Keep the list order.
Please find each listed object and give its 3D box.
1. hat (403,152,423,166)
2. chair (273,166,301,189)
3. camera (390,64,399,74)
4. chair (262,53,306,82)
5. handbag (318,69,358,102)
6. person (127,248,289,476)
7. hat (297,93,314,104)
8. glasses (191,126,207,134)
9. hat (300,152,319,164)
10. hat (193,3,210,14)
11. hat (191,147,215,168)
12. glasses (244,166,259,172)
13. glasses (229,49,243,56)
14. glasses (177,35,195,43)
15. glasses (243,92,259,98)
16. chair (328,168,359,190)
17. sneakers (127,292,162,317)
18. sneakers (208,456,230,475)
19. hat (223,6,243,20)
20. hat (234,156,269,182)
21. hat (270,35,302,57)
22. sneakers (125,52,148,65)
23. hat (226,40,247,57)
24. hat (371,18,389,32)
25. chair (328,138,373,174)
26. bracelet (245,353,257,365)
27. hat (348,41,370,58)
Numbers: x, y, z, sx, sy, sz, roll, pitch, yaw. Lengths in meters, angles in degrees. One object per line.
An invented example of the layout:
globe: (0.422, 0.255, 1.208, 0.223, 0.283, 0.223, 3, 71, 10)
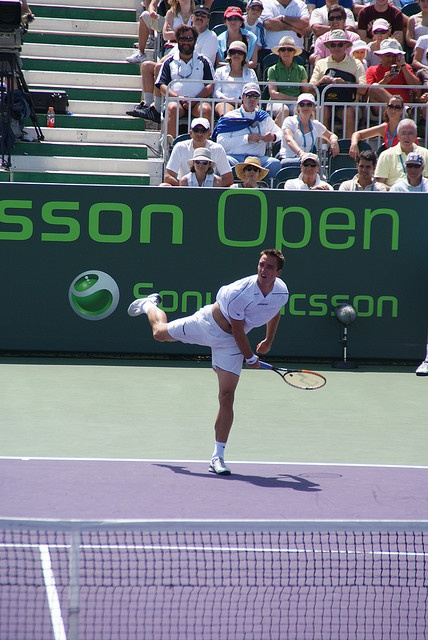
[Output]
hat: (1.981, -1.564, 12.749, 0.117, 0.100, 0.169, 9, 0, 17)
chair: (0.758, -1.473, 13.599, 0.266, 0.226, 0.383, 0, 12, 0)
camera: (2.170, -2.982, 15.533, 0.093, 0.150, 0.092, -3, -32, 18)
chair: (0.852, -3.162, 16.026, 0.515, 0.507, 0.464, -1, 5, -2)
handbag: (1.424, -2.710, 15.042, 0.430, 0.364, 0.717, 1, 12, 4)
person: (0.046, 0.196, 9.132, 0.799, 1.520, 1.394, -3, 12, -14)
hat: (0.978, -2.343, 13.862, 0.166, 0.100, 0.153, 2, 12, 6)
glasses: (-0.151, -1.879, 12.868, 0.150, 0.089, 0.107, 0, 12, 0)
hat: (0.947, -1.602, 12.940, 0.157, 0.084, 0.258, 0, 12, -1)
hat: (-0.156, -3.627, 15.295, 0.158, 0.128, 0.231, 4, 13, -2)
hat: (-0.117, -1.586, 12.728, 0.237, 0.184, 0.348, 0, 12, -1)
glasses: (0.378, -1.536, 13.258, 0.140, 0.076, 0.077, 2, 12, 7)
glasses: (0.211, -3.037, 14.815, 0.168, 0.075, 0.335, -6, 14, -29)
glasses: (-0.320, -3.138, 14.539, 0.213, 0.116, 0.184, 0, 12, -1)
glasses: (0.403, -2.358, 13.743, 0.185, 0.067, 0.193, -2, 13, -13)
chair: (1.383, -1.493, 13.884, 0.199, 0.245, 0.276, 5, 5, 23)
sneakers: (-0.595, -0.116, 10.828, 0.280, 0.125, 0.097, -23, -37, 23)
sneakers: (0.037, 0.973, 8.629, 0.142, 0.102, 0.137, 0, 12, -1)
hat: (0.225, -3.648, 15.475, 0.171, 0.118, 0.266, 2, 7, -2)
hat: (0.374, -1.589, 13.406, 0.260, 0.141, 0.269, 10, -35, 0)
hat: (0.876, -3.255, 15.266, 0.319, 0.143, 0.324, 2, -12, 1)
sneakers: (-1.027, -3.369, 16.876, 0.300, 0.113, 0.156, -4, -20, 1)
hat: (0.269, -3.096, 14.790, 0.149, 0.108, 0.208, 2, -14, 1)
hat: (2.095, -3.636, 16.203, 0.176, 0.146, 0.281, -4, -16, 17)
chair: (1.501, -1.873, 14.427, 0.418, 0.593, 0.435, 1, 28, 3)
bracelet: (0.243, 0.271, 8.740, 0.062, 0.050, 0.063, 23, 58, 31)
hat: (1.788, -3.297, 15.842, 0.204, 0.127, 0.229, -10, -1, 25)
